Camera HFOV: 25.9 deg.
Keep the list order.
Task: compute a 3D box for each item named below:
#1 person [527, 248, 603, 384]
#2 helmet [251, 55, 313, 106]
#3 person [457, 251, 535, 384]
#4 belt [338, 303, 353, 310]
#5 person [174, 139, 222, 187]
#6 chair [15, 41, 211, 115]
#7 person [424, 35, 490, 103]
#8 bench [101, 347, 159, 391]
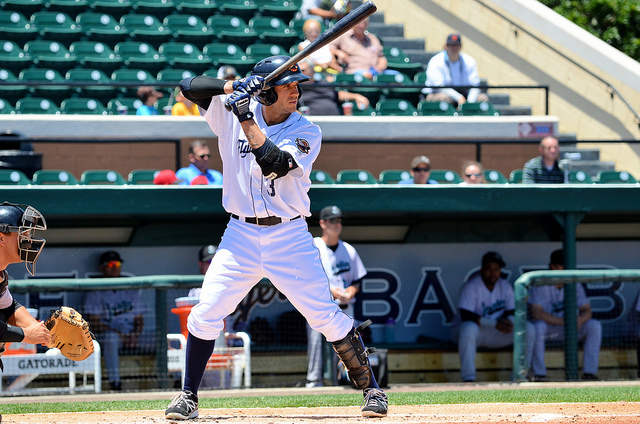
[{"bbox_3d":[2.960,1.196,16.888,0.693,1.795,1.015,-12,-18,34],"label":"person"},{"bbox_3d":[-0.451,-1.381,14.269,0.612,0.448,0.451,-1,8,21],"label":"helmet"},{"bbox_3d":[2.148,1.279,17.316,0.875,1.719,1.460,-3,-15,2],"label":"person"},{"bbox_3d":[0.308,1.127,16.860,0.153,0.093,0.116,0,-15,-7],"label":"belt"},{"bbox_3d":[-1.498,-0.612,17.378,0.839,0.603,0.447,0,-2,-35],"label":"person"},{"bbox_3d":[-2.958,-1.859,19.192,4.175,0.688,1.000,-9,17,-39],"label":"chair"},{"bbox_3d":[1.766,-1.956,19.114,0.923,0.976,0.966,-11,15,-41],"label":"person"},{"bbox_3d":[-2.220,1.851,16.339,0.539,0.339,0.190,-1,-5,2],"label":"bench"}]
